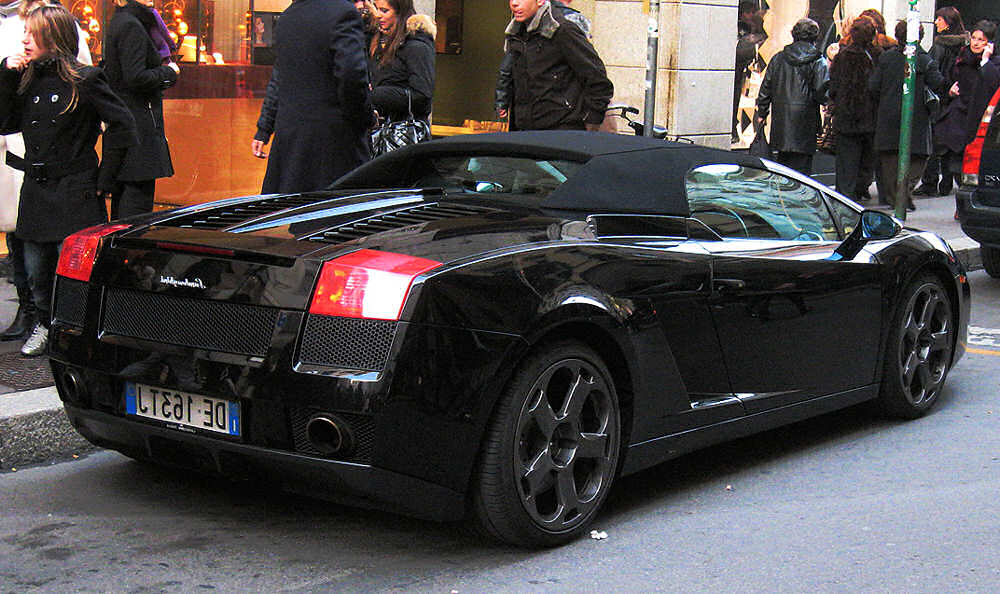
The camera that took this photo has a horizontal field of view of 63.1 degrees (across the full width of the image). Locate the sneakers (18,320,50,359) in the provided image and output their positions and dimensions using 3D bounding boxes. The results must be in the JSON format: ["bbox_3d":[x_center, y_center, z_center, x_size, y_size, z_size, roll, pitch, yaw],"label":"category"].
[{"bbox_3d":[-3.697,0.339,6.428,0.124,0.148,0.355,30,20,-19],"label":"sneakers"}]

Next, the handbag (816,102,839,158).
[{"bbox_3d":[6.535,-3.248,16.130,0.411,1.089,0.888,6,4,23],"label":"handbag"}]

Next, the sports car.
[{"bbox_3d":[0.460,0.051,4.751,4.422,1.247,2.337,-7,10,-38],"label":"sports car"}]
